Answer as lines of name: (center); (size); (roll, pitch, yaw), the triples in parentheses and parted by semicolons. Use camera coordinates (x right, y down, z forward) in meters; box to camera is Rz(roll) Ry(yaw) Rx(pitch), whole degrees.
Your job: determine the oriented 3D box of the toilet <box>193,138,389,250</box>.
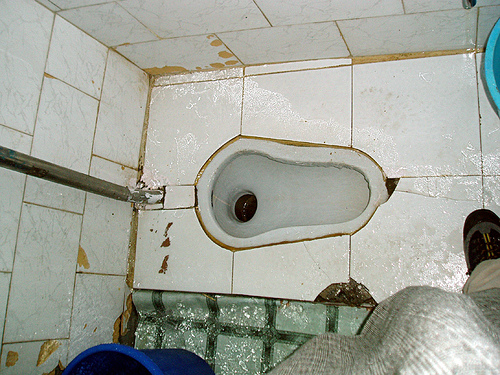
toilet: (0.230, 0.026, 2.296); (0.858, 0.573, 0.492); (1, -2, 28)
